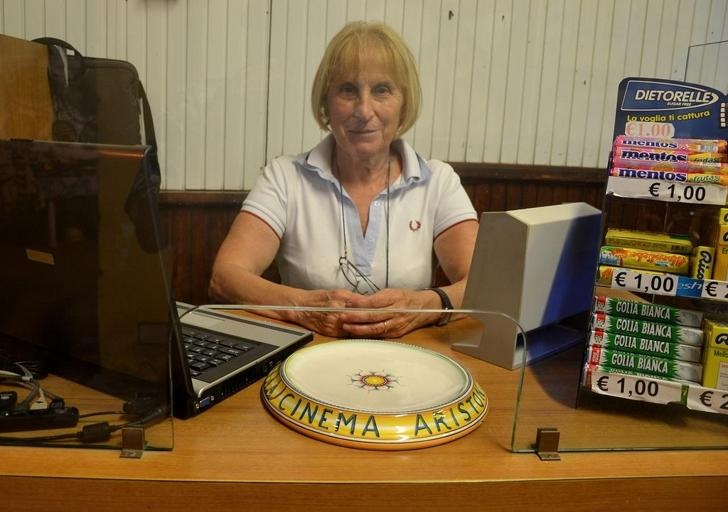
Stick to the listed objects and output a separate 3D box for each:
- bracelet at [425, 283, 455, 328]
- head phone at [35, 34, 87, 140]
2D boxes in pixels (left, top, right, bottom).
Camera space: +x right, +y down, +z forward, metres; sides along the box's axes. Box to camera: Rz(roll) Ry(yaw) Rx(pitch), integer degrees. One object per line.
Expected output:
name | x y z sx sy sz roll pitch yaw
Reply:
bracelet | 0.184 0.119 1.450 0.025 0.074 0.070 -2 36 -26
head phone | -0.664 -0.358 1.380 0.070 0.235 0.153 2 5 18
